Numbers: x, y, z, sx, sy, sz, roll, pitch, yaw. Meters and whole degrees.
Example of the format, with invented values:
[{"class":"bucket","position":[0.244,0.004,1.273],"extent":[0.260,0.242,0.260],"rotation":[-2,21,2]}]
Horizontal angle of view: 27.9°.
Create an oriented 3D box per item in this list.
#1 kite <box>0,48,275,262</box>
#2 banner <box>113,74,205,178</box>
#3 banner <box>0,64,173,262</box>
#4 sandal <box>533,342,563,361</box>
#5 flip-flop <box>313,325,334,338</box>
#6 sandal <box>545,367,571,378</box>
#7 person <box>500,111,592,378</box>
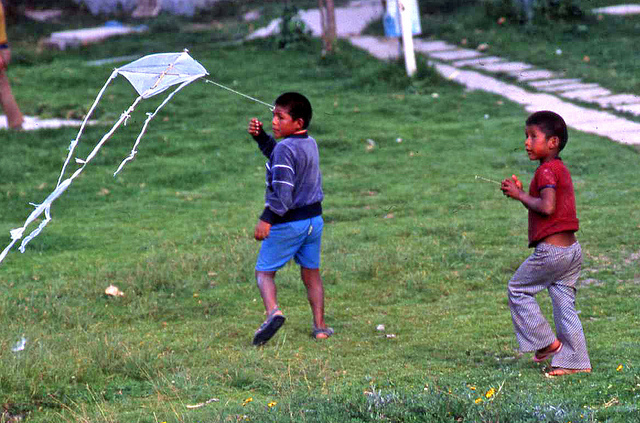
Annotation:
[{"class":"kite","position":[-2.322,-0.333,17.449],"extent":[3.731,0.319,2.919],"rotation":[-48,27,-2]},{"class":"banner","position":[-2.576,-1.327,20.641],"extent":[2.452,0.293,0.277],"rotation":[-49,-31,15]},{"class":"banner","position":[-3.625,-0.679,20.080],"extent":[4.377,0.472,0.384],"rotation":[-47,6,2]},{"class":"sandal","position":[2.896,1.796,16.361],"extent":[0.391,0.167,0.156],"rotation":[-34,22,21]},{"class":"flip-flop","position":[0.055,1.552,16.960],"extent":[0.321,0.158,0.170],"rotation":[-15,16,-33]},{"class":"sandal","position":[2.954,2.030,16.126],"extent":[0.174,0.055,0.174],"rotation":[-20,0,17]},{"class":"person","position":[2.773,0.401,16.182],"extent":[0.927,3.237,0.993],"rotation":[-5,14,10]}]
